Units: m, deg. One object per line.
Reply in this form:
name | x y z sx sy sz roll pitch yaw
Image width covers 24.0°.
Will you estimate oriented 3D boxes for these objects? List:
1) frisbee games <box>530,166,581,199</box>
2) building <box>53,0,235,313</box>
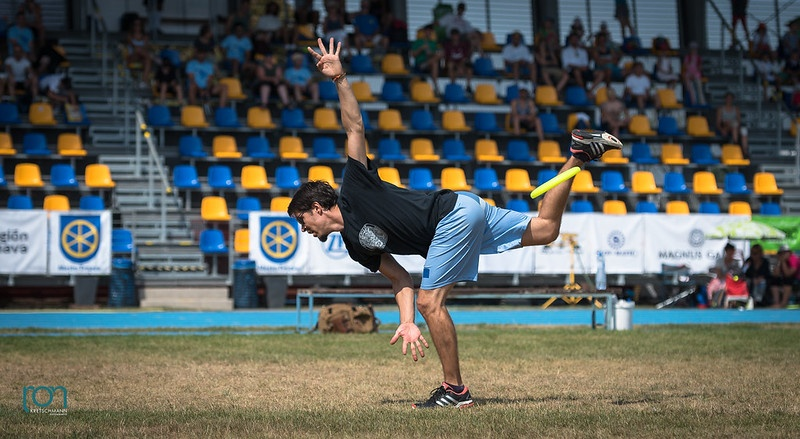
frisbee games | 4.630 -1.020 57.106 1.659 0.367 0.398 -28 -4 -4
building | -8.657 -1.619 62.116 2.003 4.805 13.101 -6 44 -27
